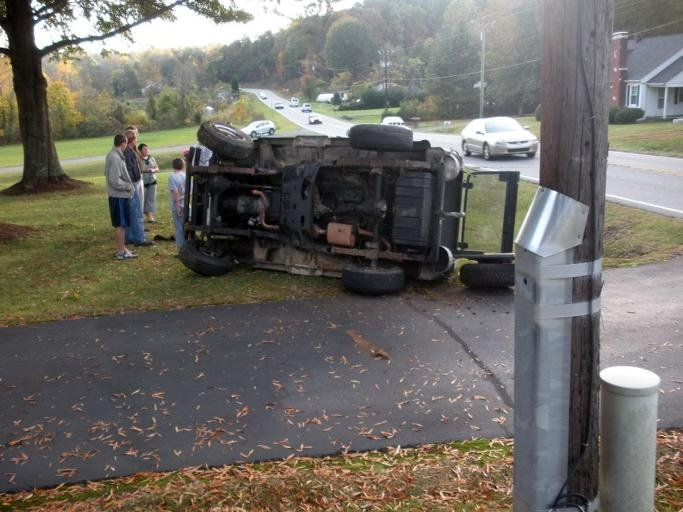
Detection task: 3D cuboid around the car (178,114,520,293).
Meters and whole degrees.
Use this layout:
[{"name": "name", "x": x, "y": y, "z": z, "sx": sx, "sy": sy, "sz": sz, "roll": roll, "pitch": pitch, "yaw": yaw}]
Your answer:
[{"name": "car", "x": -0.092, "y": -0.768, "z": 10.257, "sx": 4.650, "sy": 1.500, "sz": 3.497, "roll": 5, "pitch": 12, "yaw": 11}]

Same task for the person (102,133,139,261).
[{"name": "person", "x": -4.140, "y": -1.144, "z": 11.356, "sx": 0.482, "sy": 2.282, "sz": 0.839, "roll": -7, "pitch": 15, "yaw": -18}]

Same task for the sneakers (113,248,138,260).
[{"name": "sneakers", "x": -4.049, "y": -0.056, "z": 11.384, "sx": 0.529, "sy": 0.208, "sz": 0.175, "roll": -2, "pitch": 24, "yaw": -6}]

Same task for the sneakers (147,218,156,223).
[{"name": "sneakers", "x": -4.683, "y": -0.869, "z": 14.901, "sx": 0.228, "sy": 0.070, "sz": 0.091, "roll": -1, "pitch": 9, "yaw": -14}]

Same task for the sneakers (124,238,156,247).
[{"name": "sneakers", "x": -4.176, "y": -0.259, "z": 12.447, "sx": 0.641, "sy": 0.186, "sz": 0.256, "roll": -3, "pitch": 15, "yaw": -17}]
